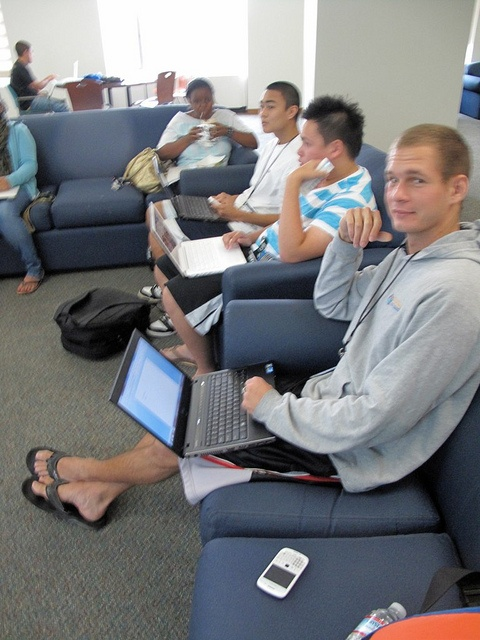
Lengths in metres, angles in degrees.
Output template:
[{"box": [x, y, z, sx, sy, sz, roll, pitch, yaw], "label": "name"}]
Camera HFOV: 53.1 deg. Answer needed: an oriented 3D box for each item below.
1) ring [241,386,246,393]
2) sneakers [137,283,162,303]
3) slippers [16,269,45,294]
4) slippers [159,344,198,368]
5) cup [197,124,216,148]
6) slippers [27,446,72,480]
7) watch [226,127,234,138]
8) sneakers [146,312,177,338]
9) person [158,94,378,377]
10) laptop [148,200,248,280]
[{"box": [0.009, 0.184, 1.274, 0.013, 0.013, 0.013, 0, 47, 0], "label": "ring"}, {"box": [-0.509, -0.155, 2.765, 0.191, 0.110, 0.067, -1, 34, 9], "label": "sneakers"}, {"box": [-1.295, -0.232, 2.967, 0.077, 0.075, 0.200, 0, 25, 10], "label": "slippers"}, {"box": [-0.274, 0.153, 2.232, 0.215, 0.053, 0.079, 12, 41, 11], "label": "slippers"}, {"box": [-0.226, -1.219, 3.196, 0.127, 0.125, 0.121, 3, 46, -3], "label": "cup"}, {"box": [-0.631, 0.454, 1.549, 0.175, 0.091, 0.048, 4, 11, 35], "label": "slippers"}, {"box": [-0.061, -1.258, 3.223, 0.037, 0.047, 0.017, -3, 36, -13], "label": "watch"}, {"box": [-0.393, 0.027, 2.437, 0.179, 0.112, 0.079, -1, 30, -7], "label": "sneakers"}, {"box": [0.070, -0.308, 1.937, 0.893, 1.025, 0.514, -5, 29, -11], "label": "person"}, {"box": [-0.185, -0.281, 2.047, 0.401, 0.247, 0.413, -16, 38, -4], "label": "laptop"}]
